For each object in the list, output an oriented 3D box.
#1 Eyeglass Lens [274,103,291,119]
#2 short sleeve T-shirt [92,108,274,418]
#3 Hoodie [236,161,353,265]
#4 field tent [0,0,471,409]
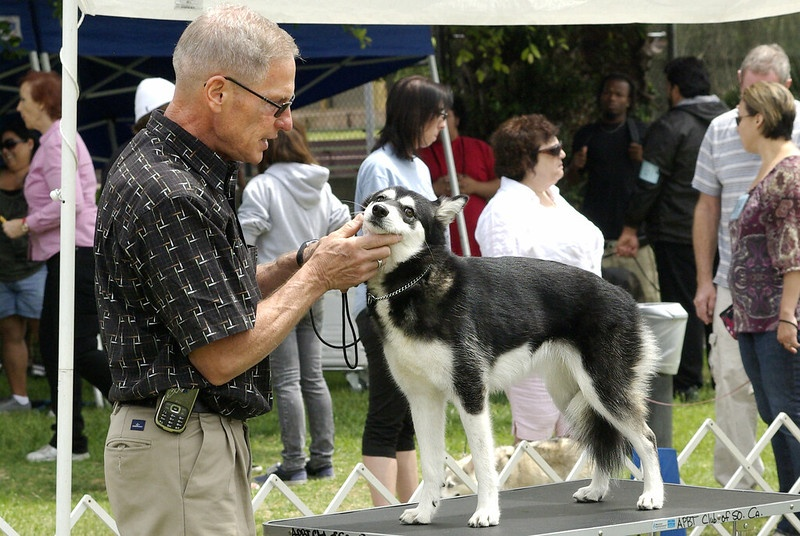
[{"bbox_3d":[-0.811,-1.083,9.788,0.104,0.098,0.031,-25,-34,-14],"label":"Eyeglass Lens"},{"bbox_3d":[-1.486,-0.011,9.697,1.129,2.093,0.469,-1,5,-12],"label":"short sleeve T-shirt"},{"bbox_3d":[-1.005,-0.375,13.101,1.378,1.181,0.515,-9,19,-42],"label":"Hoodie"},{"bbox_3d":[-1.003,-0.734,11.129,3.450,2.551,2.825,1,-2,-29],"label":"field tent"}]
